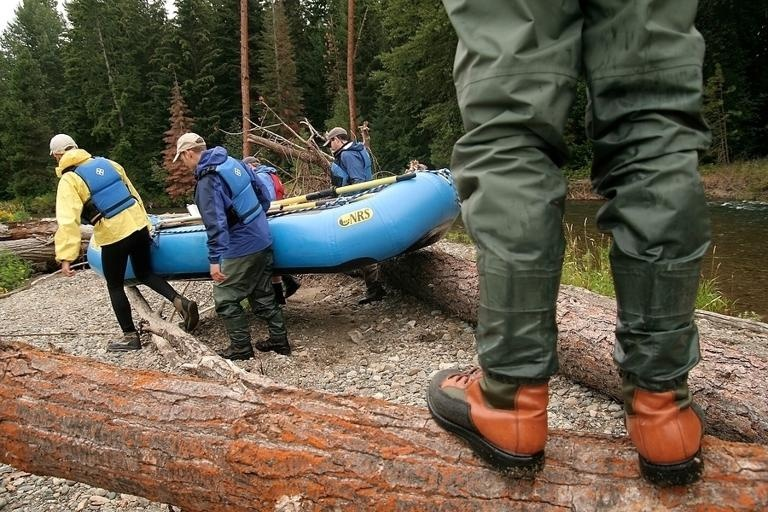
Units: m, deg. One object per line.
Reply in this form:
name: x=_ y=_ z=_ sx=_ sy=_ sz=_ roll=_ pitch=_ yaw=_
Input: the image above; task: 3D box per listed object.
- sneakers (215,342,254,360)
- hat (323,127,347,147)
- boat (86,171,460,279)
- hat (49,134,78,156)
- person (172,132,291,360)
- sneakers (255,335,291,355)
sneakers: x=-1.343 y=0.870 z=5.318 sx=0.423 sy=0.193 sz=0.156 roll=5 pitch=-4 yaw=0
hat: x=-0.732 y=-1.664 z=8.068 sx=0.345 sy=0.171 sz=0.240 roll=3 pitch=16 yaw=26
boat: x=-0.815 y=-0.225 z=5.642 sx=2.614 sy=0.578 sz=1.541 roll=-8 pitch=2 yaw=14
hat: x=-3.198 y=-1.073 z=5.662 sx=0.255 sy=0.185 sz=0.349 roll=-27 pitch=22 yaw=-27
person: x=-1.361 y=-0.029 z=5.319 sx=0.649 sy=1.946 sz=0.547 roll=-10 pitch=13 yaw=-13
sneakers: x=-1.071 y=0.842 z=5.500 sx=0.395 sy=0.160 sz=0.144 roll=6 pitch=12 yaw=33
